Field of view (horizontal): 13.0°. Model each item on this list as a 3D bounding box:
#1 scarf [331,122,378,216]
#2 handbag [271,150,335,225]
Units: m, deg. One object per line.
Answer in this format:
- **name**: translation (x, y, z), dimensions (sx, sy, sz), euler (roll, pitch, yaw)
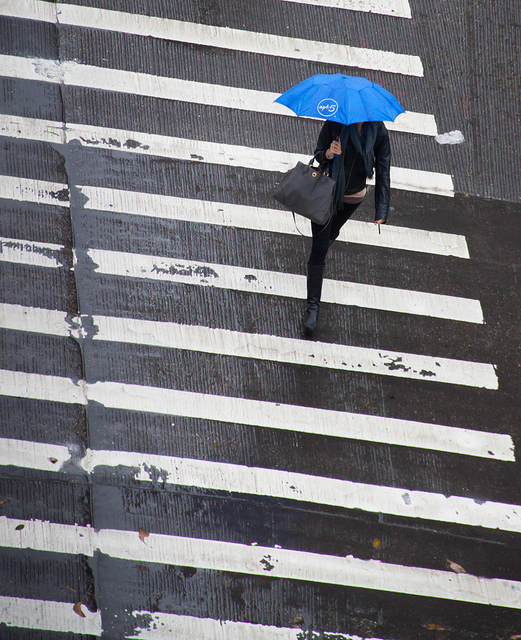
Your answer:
- **scarf**: translation (1.035, -1.543, 23.004), dimensions (0.391, 0.823, 0.475), euler (2, 37, -18)
- **handbag**: translation (0.489, -1.295, 22.942), dimensions (0.598, 0.469, 0.227), euler (23, 33, 10)
